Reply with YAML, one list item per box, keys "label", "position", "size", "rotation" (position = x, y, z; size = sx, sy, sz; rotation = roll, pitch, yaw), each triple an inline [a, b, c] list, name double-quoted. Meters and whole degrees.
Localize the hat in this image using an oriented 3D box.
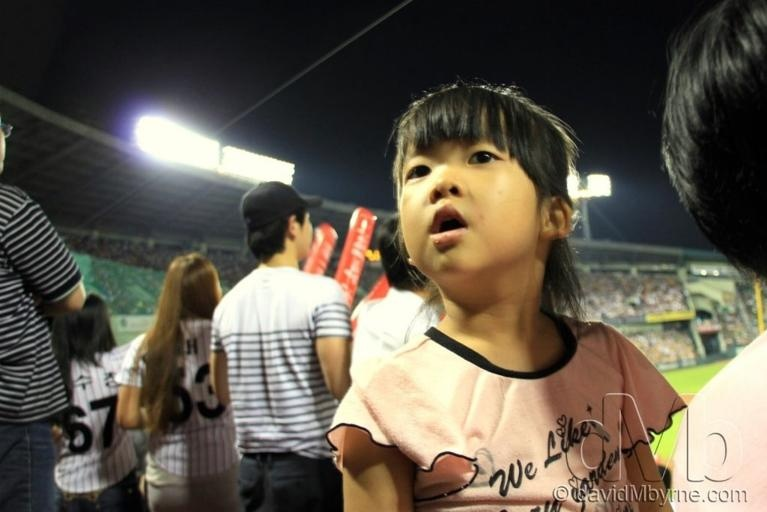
- label: "hat"
  position: [-0.493, -0.219, 2.773]
  size: [0.277, 0.150, 0.197]
  rotation: [-29, 11, -22]
